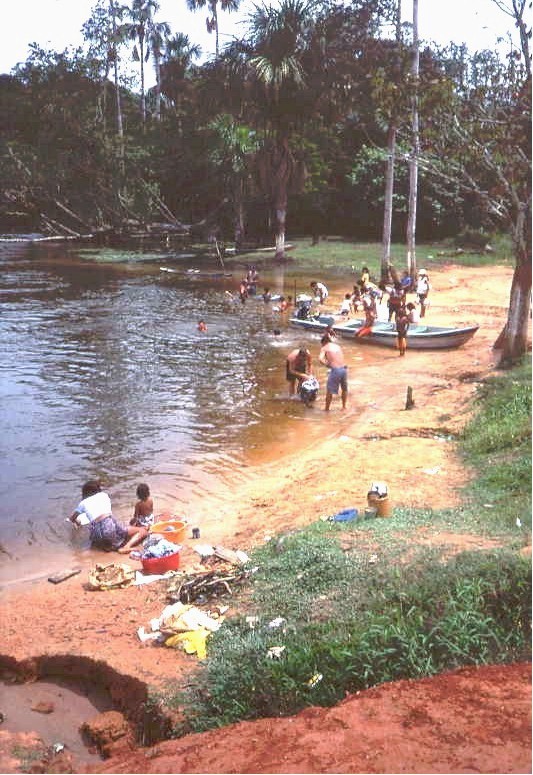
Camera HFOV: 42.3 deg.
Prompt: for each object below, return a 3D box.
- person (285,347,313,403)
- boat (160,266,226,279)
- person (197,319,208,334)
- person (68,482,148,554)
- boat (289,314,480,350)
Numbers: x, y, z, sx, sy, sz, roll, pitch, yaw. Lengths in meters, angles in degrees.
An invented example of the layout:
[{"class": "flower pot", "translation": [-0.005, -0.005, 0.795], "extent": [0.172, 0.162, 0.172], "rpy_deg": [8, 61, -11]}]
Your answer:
[{"class": "person", "translation": [0.731, -0.375, 15.993], "extent": [0.492, 1.377, 1.192], "rpy_deg": [-3, 13, -1]}, {"class": "boat", "translation": [-4.638, -7.169, 42.805], "extent": [3.130, 0.366, 5.505], "rpy_deg": [-14, 18, -36]}, {"class": "person", "translation": [-2.390, -2.273, 25.645], "extent": [0.398, 0.540, 1.171], "rpy_deg": [-6, -19, -8]}, {"class": "person", "translation": [-2.235, 1.787, 9.562], "extent": [1.402, 0.822, 0.655], "rpy_deg": [21, 18, 36]}, {"class": "boat", "translation": [3.582, -1.728, 21.700], "extent": [0.889, 0.633, 3.833], "rpy_deg": [-25, 27, -36]}]
